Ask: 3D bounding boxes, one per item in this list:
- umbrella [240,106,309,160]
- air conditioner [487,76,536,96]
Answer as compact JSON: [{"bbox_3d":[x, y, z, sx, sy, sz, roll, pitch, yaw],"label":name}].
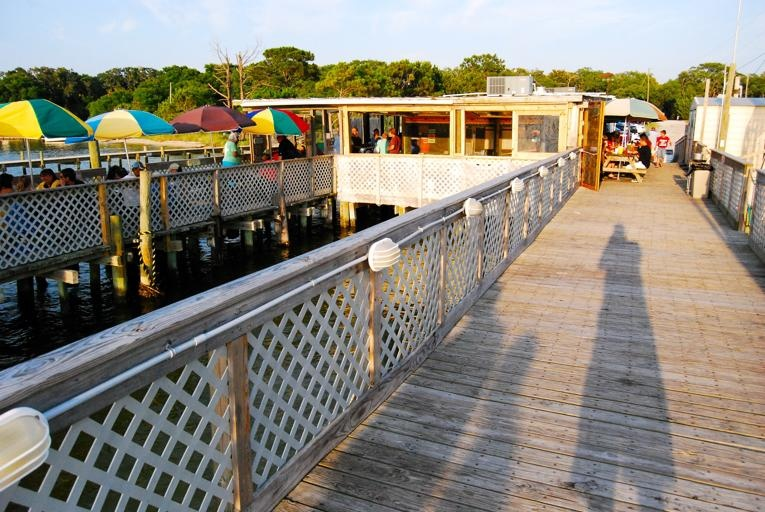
[{"bbox_3d":[-2.929,-3.350,16.091,1.736,1.038,1.653,-16,35,-25],"label":"umbrella"},{"bbox_3d":[4.082,-5.465,18.072,1.387,0.523,0.863,0,19,5],"label":"air conditioner"}]
